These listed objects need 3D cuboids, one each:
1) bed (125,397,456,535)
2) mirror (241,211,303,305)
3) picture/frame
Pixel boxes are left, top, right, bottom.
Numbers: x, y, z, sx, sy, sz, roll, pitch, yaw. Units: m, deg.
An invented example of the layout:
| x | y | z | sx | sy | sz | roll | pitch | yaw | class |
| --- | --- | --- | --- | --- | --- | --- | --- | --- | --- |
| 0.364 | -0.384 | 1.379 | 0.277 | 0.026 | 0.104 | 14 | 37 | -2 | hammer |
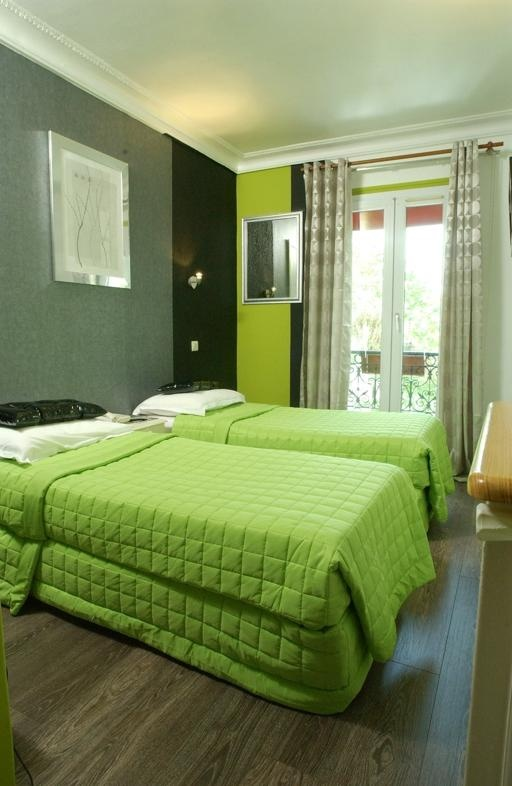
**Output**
| x | y | z | sx | sy | sz | roll | pitch | yaw | class |
| --- | --- | --- | --- | --- | --- | --- | --- | --- | --- |
| 0.366 | 0.235 | 3.183 | 1.243 | 0.452 | 0.809 | 2 | 6 | 26 | bed |
| 0.160 | -1.212 | 5.005 | 0.763 | 1.006 | 0.058 | 3 | 5 | 35 | mirror |
| -0.983 | -1.045 | 3.381 | 0.681 | 0.787 | 0.064 | 22 | 26 | 31 | picture/frame |
